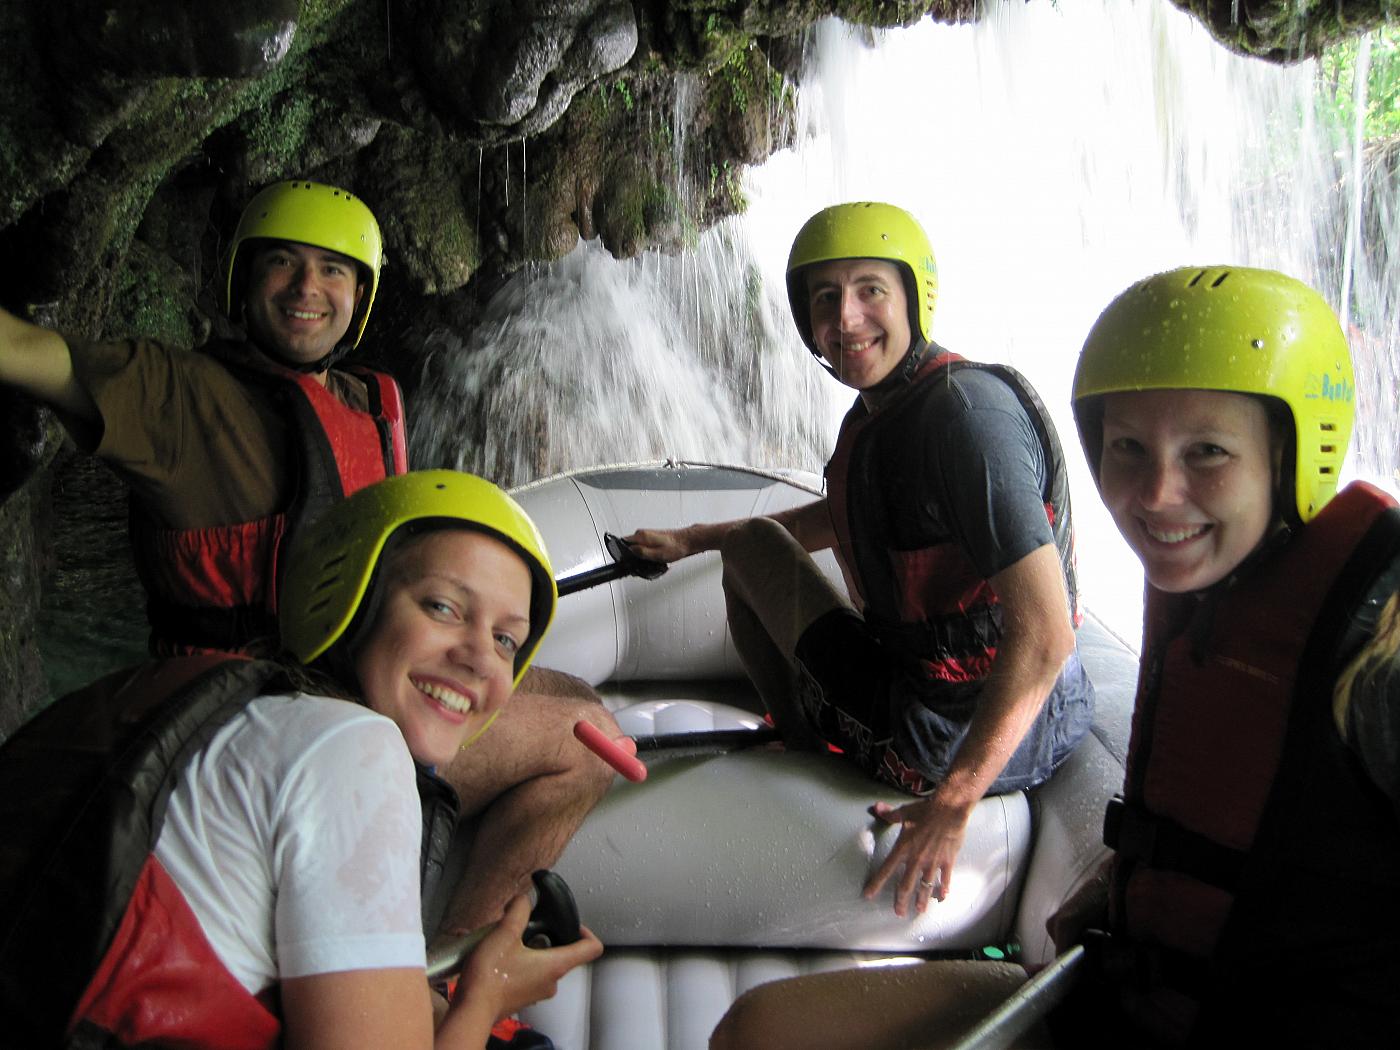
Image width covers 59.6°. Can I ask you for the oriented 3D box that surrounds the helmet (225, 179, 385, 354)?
[{"bbox_3d":[-1.397,-0.859,4.351,0.451,0.614,0.569,14,-14,-35],"label":"helmet"}]

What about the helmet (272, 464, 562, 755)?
[{"bbox_3d":[-0.735,0.201,2.802,0.412,0.655,0.561,10,0,37],"label":"helmet"}]

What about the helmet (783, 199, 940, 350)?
[{"bbox_3d":[0.509,-0.829,4.329,0.433,0.591,0.594,-2,0,5],"label":"helmet"}]
